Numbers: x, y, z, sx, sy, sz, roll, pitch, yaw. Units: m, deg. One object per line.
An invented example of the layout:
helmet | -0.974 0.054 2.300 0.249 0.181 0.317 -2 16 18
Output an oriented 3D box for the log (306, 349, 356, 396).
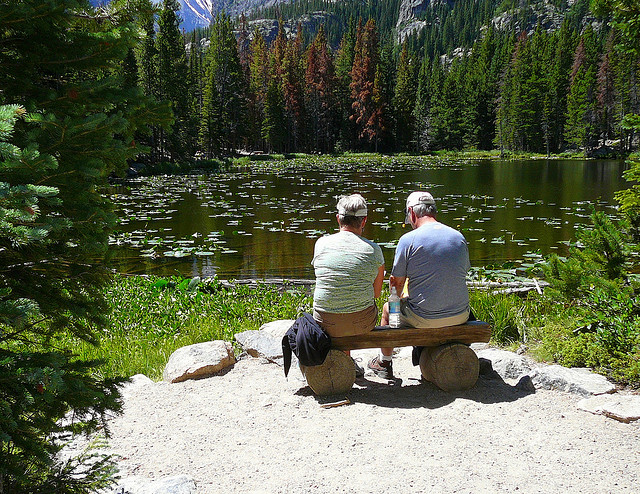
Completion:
log | 0.090 1.035 5.715 0.403 0.373 0.126 -6 13 -24

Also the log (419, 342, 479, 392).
log | 1.068 1.047 5.887 0.372 0.416 0.460 9 -1 -7
